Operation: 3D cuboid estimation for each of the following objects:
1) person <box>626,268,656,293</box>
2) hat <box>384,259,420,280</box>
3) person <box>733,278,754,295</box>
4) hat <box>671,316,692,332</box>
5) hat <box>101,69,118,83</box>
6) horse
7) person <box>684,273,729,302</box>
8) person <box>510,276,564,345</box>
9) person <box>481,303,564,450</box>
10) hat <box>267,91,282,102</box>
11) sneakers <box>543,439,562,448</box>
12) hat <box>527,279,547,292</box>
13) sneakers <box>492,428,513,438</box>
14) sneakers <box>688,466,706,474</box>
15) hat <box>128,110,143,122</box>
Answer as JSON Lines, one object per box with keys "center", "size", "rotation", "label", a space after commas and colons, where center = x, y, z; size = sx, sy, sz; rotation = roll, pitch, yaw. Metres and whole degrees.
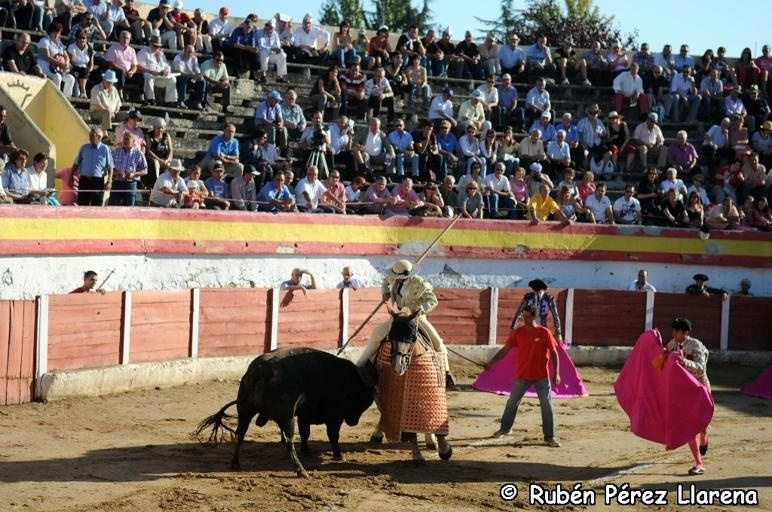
{"center": [5.011, 0.478, 30.290], "size": [0.535, 0.454, 0.900], "rotation": [1, -1, 8], "label": "person"}
{"center": [0.225, 0.226, 23.777], "size": [0.342, 0.120, 0.297], "rotation": [-11, 39, -5], "label": "hat"}
{"center": [7.122, 0.616, 30.800], "size": [0.327, 0.352, 0.883], "rotation": [1, -1, 12], "label": "person"}
{"center": [4.876, 1.135, 25.621], "size": [0.328, 0.247, 0.285], "rotation": [-18, 25, -38], "label": "hat"}
{"center": [-5.059, -3.345, 28.241], "size": [0.257, 0.098, 0.236], "rotation": [36, 21, 33], "label": "hat"}
{"center": [0.374, 2.056, 24.485], "size": [1.194, 2.424, 3.642], "rotation": [-2, -3, 0], "label": "horse"}
{"center": [6.284, 0.587, 30.427], "size": [0.765, 0.479, 0.973], "rotation": [1, -1, 11], "label": "person"}
{"center": [2.574, 0.984, 26.571], "size": [1.035, 0.525, 1.659], "rotation": [6, -37, 12], "label": "person"}
{"center": [2.251, 1.908, 24.527], "size": [0.990, 2.241, 0.373], "rotation": [1, 0, 4], "label": "person"}
{"center": [-2.084, -3.076, 29.482], "size": [0.305, 0.159, 0.211], "rotation": [14, 11, -20], "label": "hat"}
{"center": [2.622, 2.991, 24.404], "size": [0.267, 0.109, 0.097], "rotation": [0, 10, 1], "label": "sneakers"}
{"center": [2.501, 0.488, 26.075], "size": [0.257, 0.107, 0.284], "rotation": [3, 3, -25], "label": "hat"}
{"center": [1.844, 2.857, 24.624], "size": [0.316, 0.129, 0.123], "rotation": [1, 5, -17], "label": "sneakers"}
{"center": [4.685, 3.271, 23.410], "size": [0.210, 0.078, 0.120], "rotation": [2, -2, -31], "label": "sneakers"}
{"center": [-4.401, -2.519, 27.468], "size": [0.311, 0.156, 0.216], "rotation": [3, 10, -34], "label": "hat"}
